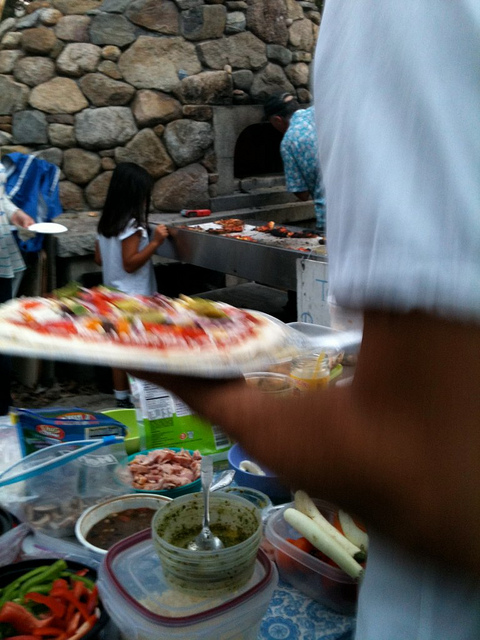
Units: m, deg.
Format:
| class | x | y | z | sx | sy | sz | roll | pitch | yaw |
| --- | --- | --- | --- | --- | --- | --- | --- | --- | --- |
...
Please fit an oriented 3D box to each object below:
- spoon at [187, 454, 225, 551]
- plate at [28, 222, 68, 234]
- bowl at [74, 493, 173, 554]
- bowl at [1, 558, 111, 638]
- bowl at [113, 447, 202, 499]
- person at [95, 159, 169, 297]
| class | x | y | z | sx | sy | sz | roll | pitch | yaw |
| --- | --- | --- | --- | --- | --- | --- | --- | --- | --- |
| spoon | -0.072 | 0.343 | 0.942 | 0.050 | 0.024 | 0.172 | 1 | 48 | -4 |
| plate | -1.400 | -0.658 | 3.572 | 0.202 | 0.072 | 0.361 | -4 | 14 | -30 |
| bowl | -0.290 | 0.506 | 1.226 | 0.197 | 0.044 | 0.190 | -3 | 13 | 1 |
| bowl | -0.392 | 0.585 | 1.048 | 0.173 | 0.039 | 0.167 | 5 | 13 | -1 |
| bowl | -0.207 | 0.419 | 1.402 | 0.146 | 0.050 | 0.142 | 5 | 12 | -1 |
| person | -1.020 | -0.517 | 4.613 | 0.584 | 1.833 | 0.673 | -11 | 42 | -24 |
